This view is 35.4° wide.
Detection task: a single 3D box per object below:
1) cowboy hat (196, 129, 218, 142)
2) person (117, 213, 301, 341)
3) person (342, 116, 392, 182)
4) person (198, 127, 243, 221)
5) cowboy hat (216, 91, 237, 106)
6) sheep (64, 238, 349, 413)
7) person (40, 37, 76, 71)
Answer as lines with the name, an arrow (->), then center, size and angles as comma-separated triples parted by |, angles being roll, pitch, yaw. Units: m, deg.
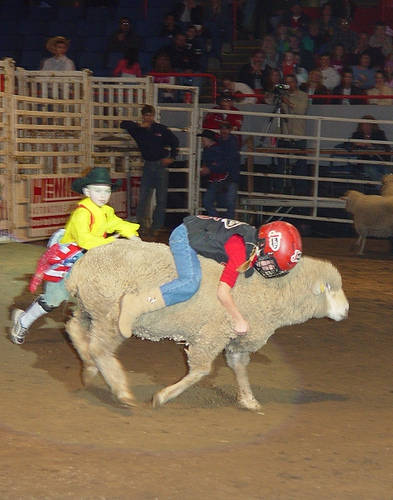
cowboy hat -> 0.192, -2.043, 11.054 | 0.199, 0.091, 0.291 | 24, 6, 43
person -> 0.057, 0.163, 3.576 | 1.039, 0.324, 0.734 | -3, 30, -2
person -> 3.240, -1.922, 11.615 | 0.960, 1.216, 0.978 | 9, 9, 9
person -> 0.404, -1.360, 10.954 | 1.044, 1.537, 0.462 | 14, 11, 36
cowboy hat -> 0.554, -2.927, 11.852 | 0.498, 0.145, 0.573 | -1, 6, 1
sheep -> 0.018, 0.516, 3.767 | 1.873, 0.856, 0.494 | 2, -7, -11
person -> -2.623, -3.696, 11.685 | 0.514, 0.681, 0.922 | 3, 8, -26
